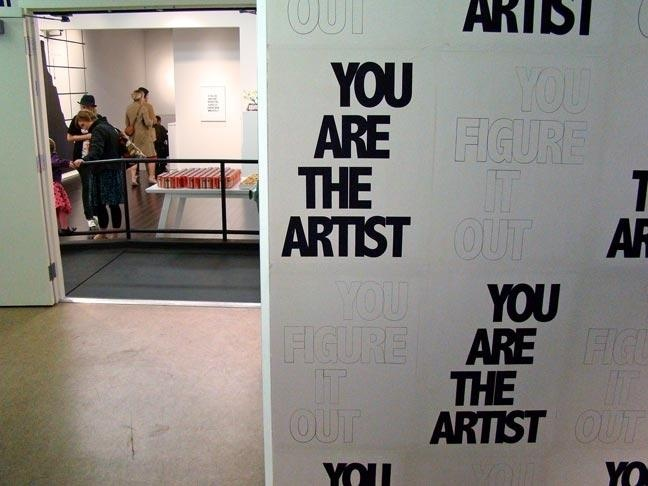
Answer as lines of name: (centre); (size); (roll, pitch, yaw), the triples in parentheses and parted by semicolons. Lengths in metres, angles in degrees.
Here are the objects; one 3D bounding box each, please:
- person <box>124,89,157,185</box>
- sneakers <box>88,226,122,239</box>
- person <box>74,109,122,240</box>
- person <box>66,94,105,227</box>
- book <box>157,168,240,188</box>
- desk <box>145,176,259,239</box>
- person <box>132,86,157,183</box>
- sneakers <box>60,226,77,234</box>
person: (-3.270, -1.907, 9.667); (0.495, 1.680, 0.513); (5, 19, 5)
sneakers: (-2.743, -0.132, 6.752); (0.362, 0.177, 0.120); (6, -3, -8)
person: (-2.813, -0.813, 6.762); (0.540, 1.672, 1.413); (-3, 12, -22)
person: (-3.028, -1.018, 7.005); (0.483, 1.725, 0.360); (-8, -10, 34)
book: (-1.573, -0.847, 6.948); (0.982, 0.233, 0.871); (5, 13, 11)
desk: (-1.404, -0.449, 6.461); (1.661, 0.891, 1.408); (1, 7, -1)
person: (-3.198, -1.938, 9.657); (0.438, 1.652, 0.438); (5, 12, 14)
sneakers: (-3.185, -0.159, 6.699); (0.180, 0.082, 0.058); (14, 13, 26)
